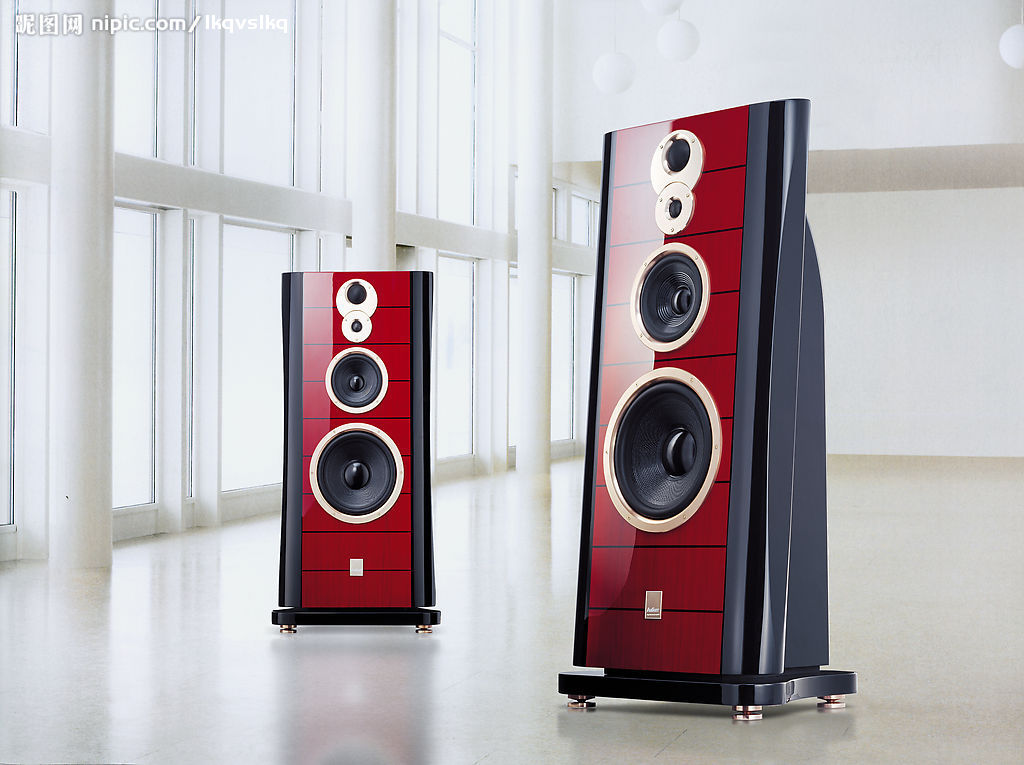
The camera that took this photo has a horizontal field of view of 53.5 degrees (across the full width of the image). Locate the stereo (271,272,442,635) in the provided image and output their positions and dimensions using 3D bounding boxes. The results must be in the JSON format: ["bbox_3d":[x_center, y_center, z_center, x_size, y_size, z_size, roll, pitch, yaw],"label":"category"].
[{"bbox_3d":[-0.708,0.240,4.811,0.819,1.782,0.657,-1,16,-13],"label":"stereo"}]
